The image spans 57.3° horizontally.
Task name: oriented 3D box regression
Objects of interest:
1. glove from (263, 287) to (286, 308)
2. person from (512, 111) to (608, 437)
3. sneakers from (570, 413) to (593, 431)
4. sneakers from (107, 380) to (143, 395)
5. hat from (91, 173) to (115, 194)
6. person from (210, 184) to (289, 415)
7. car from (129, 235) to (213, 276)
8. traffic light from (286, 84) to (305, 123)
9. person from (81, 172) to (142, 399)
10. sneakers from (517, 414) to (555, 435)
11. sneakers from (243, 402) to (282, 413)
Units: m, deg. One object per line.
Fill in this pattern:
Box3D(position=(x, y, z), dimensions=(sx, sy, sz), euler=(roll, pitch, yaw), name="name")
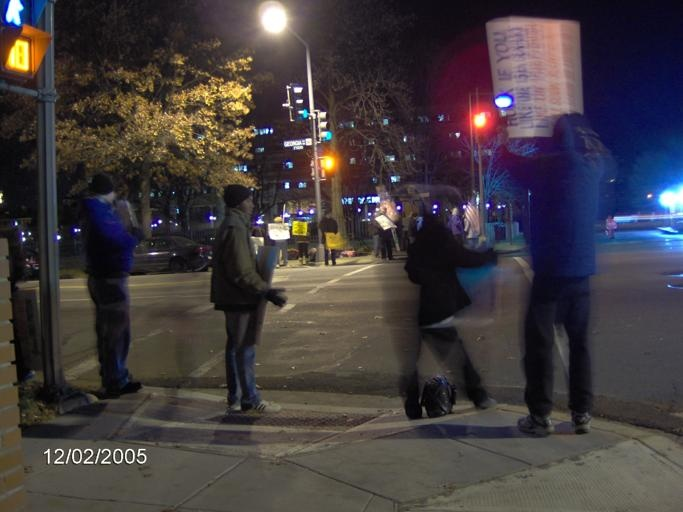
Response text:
Box3D(position=(-0.722, 0.438, 6.705), dimensions=(0.220, 0.256, 0.661), euler=(-2, 3, -7), name="glove")
Box3D(position=(2.036, 0.131, 5.812), dimensions=(0.864, 2.919, 0.557), euler=(-1, 3, 2), name="person")
Box3D(position=(2.171, 1.503, 5.660), dimensions=(0.083, 0.118, 0.243), euler=(-2, -2, 17), name="sneakers")
Box3D(position=(-2.490, 1.484, 7.171), dimensions=(0.341, 0.169, 0.125), euler=(-5, 6, -34), name="sneakers")
Box3D(position=(-2.796, -0.834, 7.237), dimensions=(0.232, 0.217, 0.244), euler=(-6, 15, -1), name="hat")
Box3D(position=(-1.036, 0.424, 6.635), dimensions=(0.637, 2.397, 0.763), euler=(-3, 3, -27), name="person")
Box3D(position=(-6.179, -0.018, 23.107), dimensions=(3.635, 1.339, 1.525), euler=(1, -1, 3), name="car")
Box3D(position=(-1.608, -5.467, 21.877), dimensions=(0.701, 1.387, 2.466), euler=(-2, 3, -3), name="traffic light")
Box3D(position=(-2.611, 0.312, 7.156), dimensions=(0.611, 2.519, 0.397), euler=(-2, 3, -14), name="person")
Box3D(position=(1.765, 1.511, 5.742), dimensions=(0.332, 0.184, 0.143), euler=(2, 5, 44), name="sneakers")
Box3D(position=(-0.843, 1.544, 6.602), dimensions=(0.372, 0.163, 0.143), euler=(-1, -2, -16), name="sneakers")
